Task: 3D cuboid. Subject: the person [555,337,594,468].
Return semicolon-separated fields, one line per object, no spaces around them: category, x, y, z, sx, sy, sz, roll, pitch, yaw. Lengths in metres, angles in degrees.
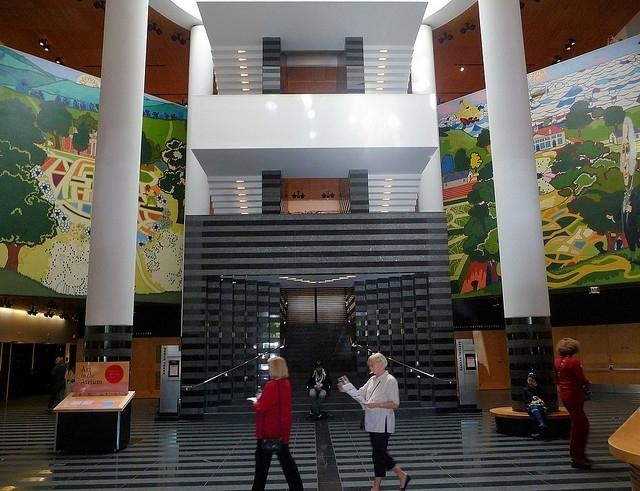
person;3.911;2.404;7.037;0.443;1.904;0.745;-7;-12;26

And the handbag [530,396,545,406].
handbag;4.191;3.020;8.905;0.152;0.070;0.195;1;2;-19

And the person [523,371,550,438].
person;4.243;3.120;8.922;0.323;1.174;0.355;0;-11;-12

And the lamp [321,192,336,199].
lamp;0.305;-1.847;17.138;0.494;0.183;0.576;-2;-10;1

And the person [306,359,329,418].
person;-0.026;3.794;12.029;0.586;1.436;0.385;-2;-10;0

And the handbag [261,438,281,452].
handbag;-0.542;2.237;5.135;0.177;0.122;0.139;2;-5;3
